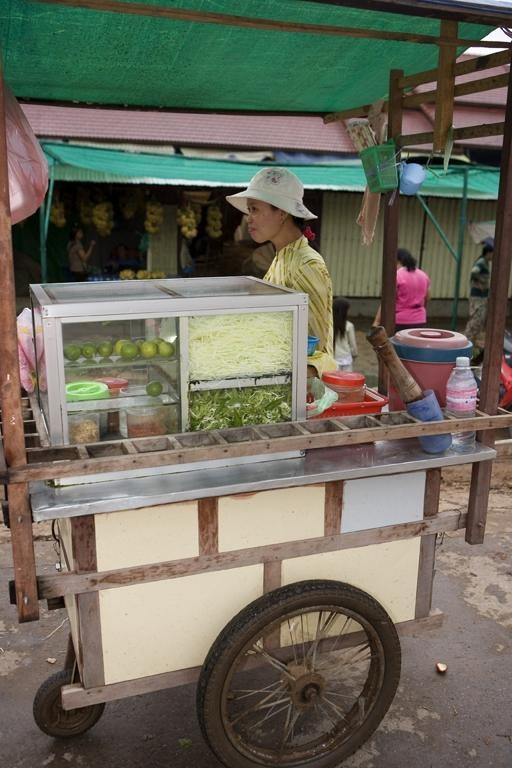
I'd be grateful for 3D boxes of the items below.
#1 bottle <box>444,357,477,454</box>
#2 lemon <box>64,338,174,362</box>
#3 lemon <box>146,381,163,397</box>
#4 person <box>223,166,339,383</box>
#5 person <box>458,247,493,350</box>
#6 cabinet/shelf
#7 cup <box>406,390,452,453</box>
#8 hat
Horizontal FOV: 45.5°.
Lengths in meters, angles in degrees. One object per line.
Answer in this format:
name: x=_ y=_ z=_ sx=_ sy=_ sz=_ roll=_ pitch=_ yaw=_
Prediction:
bottle: x=0.757 y=0.072 z=2.246 sx=0.117 sy=0.335 sz=0.114 roll=-2 pitch=3 yaw=0
lemon: x=-0.437 y=-0.101 z=1.893 sx=0.334 sy=0.078 sz=0.153 roll=-6 pitch=13 yaw=-28
lemon: x=-0.334 y=0.016 z=2.010 sx=0.052 sy=0.047 sz=0.047 roll=-1 pitch=-3 yaw=-3
person: x=0.150 y=-0.435 z=3.120 sx=0.497 sy=1.217 sz=0.566 roll=-10 pitch=16 yaw=-15
person: x=2.753 y=-1.098 z=7.618 sx=0.238 sy=1.401 sz=0.652 roll=4 pitch=13 yaw=18
cabinet/shelf: x=-0.294 y=-0.085 z=2.073 sx=0.838 sy=0.481 sz=0.507 roll=-5 pitch=13 yaw=-23
cup: x=0.585 y=0.132 z=2.085 sx=0.131 sy=0.212 sz=0.129 roll=-27 pitch=8 yaw=4
hat: x=0.048 y=-0.921 z=2.965 sx=0.399 sy=0.199 sz=0.376 roll=9 pitch=6 yaw=16
